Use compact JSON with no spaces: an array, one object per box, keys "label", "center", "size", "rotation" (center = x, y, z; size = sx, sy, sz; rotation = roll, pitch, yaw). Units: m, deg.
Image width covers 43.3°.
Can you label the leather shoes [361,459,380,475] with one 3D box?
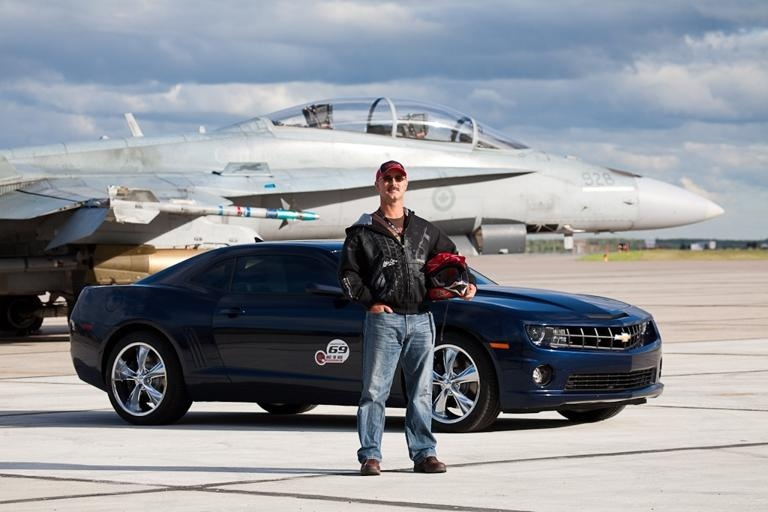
[{"label":"leather shoes","center":[-0.116,1.778,8.139],"size":[0.158,0.147,0.130],"rotation":[-1,7,0]}]

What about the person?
[{"label":"person","center":[0.118,0.523,8.231],"size":[0.965,2.635,0.674],"rotation":[-2,9,-2]}]

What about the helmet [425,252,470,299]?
[{"label":"helmet","center":[0.546,0.183,8.274],"size":[0.386,0.413,0.231],"rotation":[-1,8,4]}]

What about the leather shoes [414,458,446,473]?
[{"label":"leather shoes","center":[0.394,1.774,8.215],"size":[0.329,0.094,0.117],"rotation":[-8,-8,37]}]
